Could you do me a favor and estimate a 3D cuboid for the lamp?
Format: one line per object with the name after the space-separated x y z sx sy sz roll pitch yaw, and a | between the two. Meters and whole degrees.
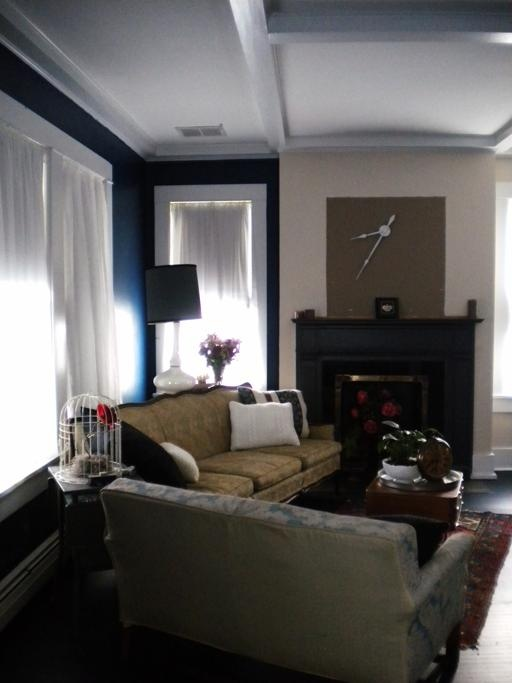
-0.536 -0.080 3.782 0.352 0.903 0.529 -2 3 -26 | lamp

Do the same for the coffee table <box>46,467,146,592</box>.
-0.665 0.754 2.313 0.277 0.395 0.304 -1 -3 -22 | coffee table

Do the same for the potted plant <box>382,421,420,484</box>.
0.768 0.594 2.941 0.210 0.285 0.208 -6 -16 17 | potted plant

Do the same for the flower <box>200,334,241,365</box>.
-0.273 0.045 4.183 0.218 0.169 0.235 9 3 6 | flower

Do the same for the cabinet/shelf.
1.010 0.394 4.232 1.166 1.183 0.282 0 0 3 | cabinet/shelf
